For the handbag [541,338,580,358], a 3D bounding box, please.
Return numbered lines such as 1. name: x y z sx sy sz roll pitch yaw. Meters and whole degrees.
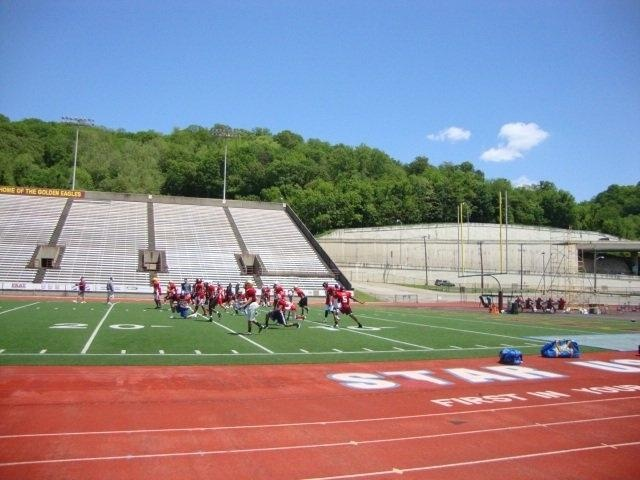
1. handbag: 8.050 3.636 16.445 0.897 0.338 0.654 6 -9 -21
